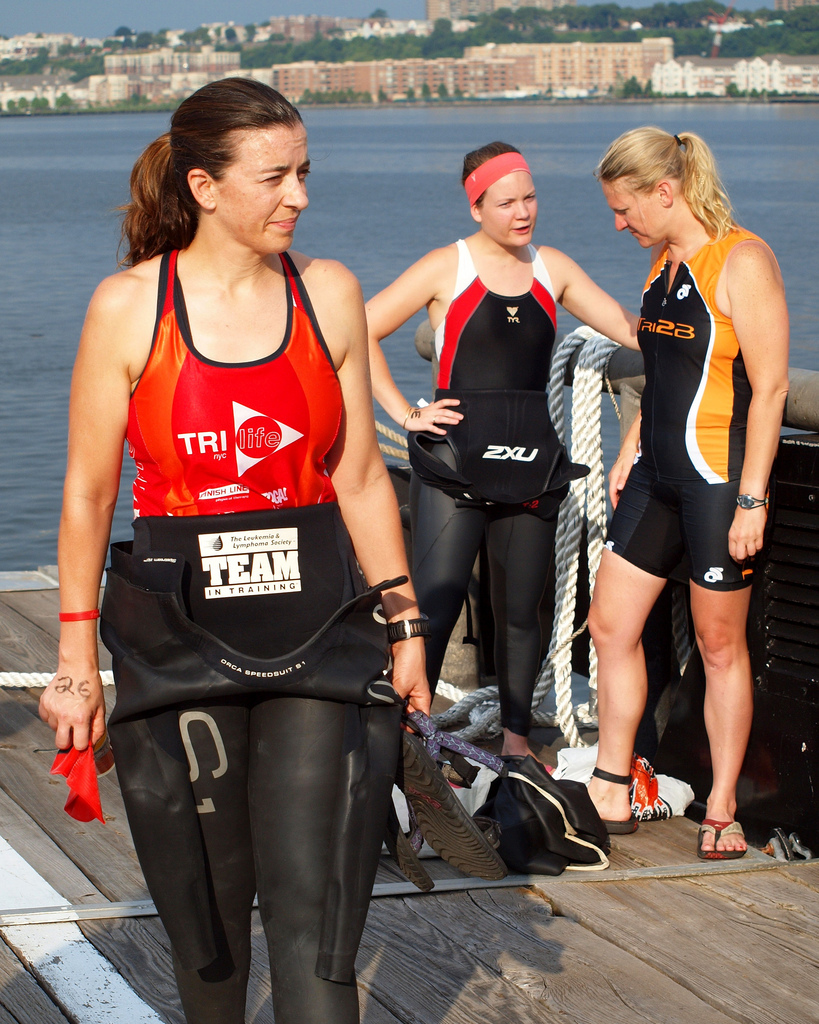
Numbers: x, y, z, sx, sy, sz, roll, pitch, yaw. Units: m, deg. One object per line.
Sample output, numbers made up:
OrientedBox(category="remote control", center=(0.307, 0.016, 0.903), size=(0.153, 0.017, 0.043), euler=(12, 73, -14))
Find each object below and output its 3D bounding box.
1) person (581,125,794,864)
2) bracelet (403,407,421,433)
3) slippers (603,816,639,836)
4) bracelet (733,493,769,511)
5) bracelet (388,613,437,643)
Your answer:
OrientedBox(category="person", center=(0.734, -0.052, 3.377), size=(0.241, 1.923, 0.619), euler=(-5, 13, -40))
OrientedBox(category="bracelet", center=(0.009, -0.286, 3.912), size=(0.044, 0.069, 0.059), euler=(13, 5, 11))
OrientedBox(category="slippers", center=(0.595, 0.878, 3.535), size=(0.089, 0.023, 0.060), euler=(-1, -6, 12))
OrientedBox(category="bracelet", center=(0.850, -0.025, 3.168), size=(0.062, 0.023, 0.042), euler=(-5, 12, -36))
OrientedBox(category="bracelet", center=(0.007, 0.197, 2.130), size=(0.074, 0.032, 0.064), euler=(-4, -4, 11))
